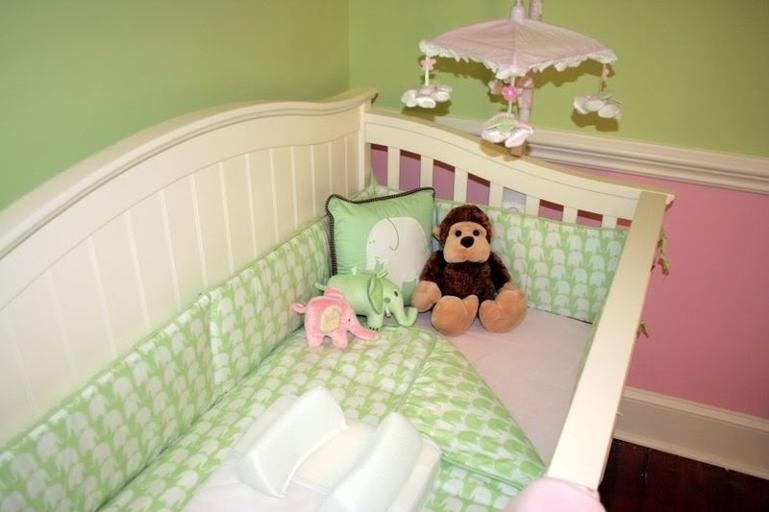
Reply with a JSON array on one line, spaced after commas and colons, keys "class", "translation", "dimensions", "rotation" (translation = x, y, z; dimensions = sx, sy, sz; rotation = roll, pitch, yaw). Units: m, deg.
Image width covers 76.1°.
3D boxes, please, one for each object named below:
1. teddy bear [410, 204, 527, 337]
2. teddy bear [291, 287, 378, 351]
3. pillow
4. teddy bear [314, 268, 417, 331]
[{"class": "teddy bear", "translation": [0.347, -0.004, 2.122], "dimensions": [0.540, 0.617, 0.493], "rotation": [1, 9, 1]}, {"class": "teddy bear", "translation": [-0.189, 0.227, 1.913], "dimensions": [0.322, 0.218, 0.178], "rotation": [2, 25, -9]}, {"class": "pillow", "translation": [-0.015, -0.021, 2.032], "dimensions": [0.421, 0.431, 0.158], "rotation": [-9, -8, -13]}, {"class": "teddy bear", "translation": [-0.049, 0.177, 1.994], "dimensions": [0.355, 0.218, 0.226], "rotation": [3, 15, 11]}]
